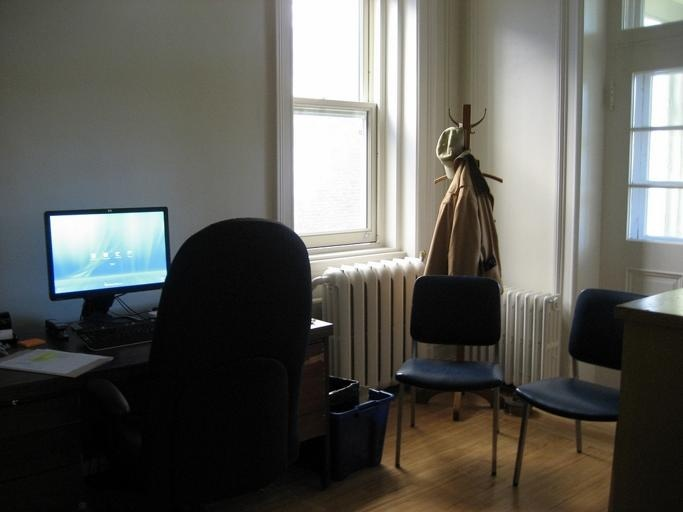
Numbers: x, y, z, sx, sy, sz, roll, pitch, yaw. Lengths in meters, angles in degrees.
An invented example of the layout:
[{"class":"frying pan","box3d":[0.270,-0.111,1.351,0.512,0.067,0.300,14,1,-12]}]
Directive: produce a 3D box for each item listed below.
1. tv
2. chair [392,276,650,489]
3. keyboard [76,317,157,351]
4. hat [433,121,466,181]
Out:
[{"class":"tv","box3d":[-1.109,0.053,2.745,0.528,0.584,0.189,-3,4,-38]},{"class":"chair","box3d":[0.968,0.706,3.235,0.896,0.777,0.437,2,7,23]},{"class":"keyboard","box3d":[-1.011,0.343,2.624,0.235,0.052,0.206,-6,11,-38]},{"class":"hat","box3d":[0.678,-0.683,3.789,0.110,0.334,0.232,-1,10,-30]}]
